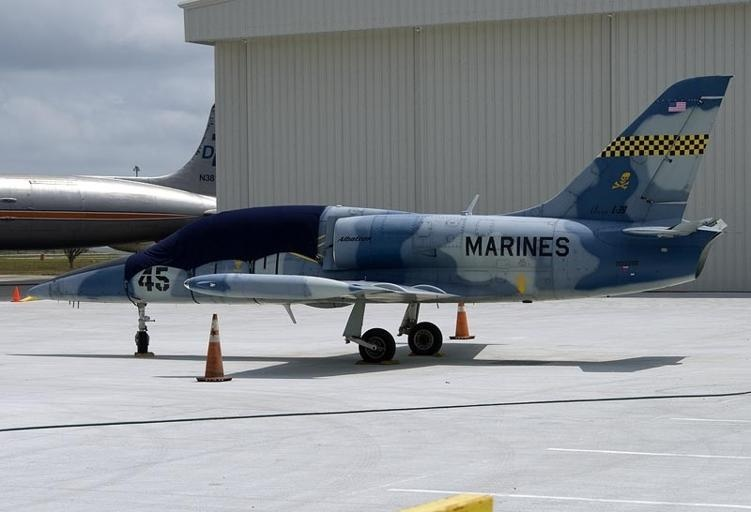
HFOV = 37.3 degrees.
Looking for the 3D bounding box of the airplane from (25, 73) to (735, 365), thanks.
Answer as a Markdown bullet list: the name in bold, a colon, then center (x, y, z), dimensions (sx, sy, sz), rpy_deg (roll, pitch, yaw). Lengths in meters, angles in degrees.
- **airplane**: center (-0.578, -0.152, 23.954), dimensions (15.108, 3.088, 6.018), rpy_deg (-1, 8, 12)
